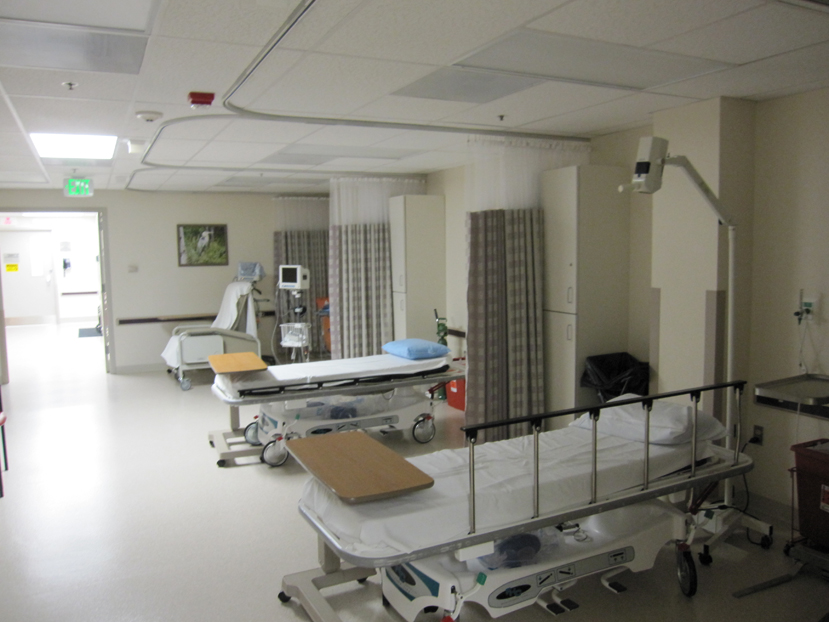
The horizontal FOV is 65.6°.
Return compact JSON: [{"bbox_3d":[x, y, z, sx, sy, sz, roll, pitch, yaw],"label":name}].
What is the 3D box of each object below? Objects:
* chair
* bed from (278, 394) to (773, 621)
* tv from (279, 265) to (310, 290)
[{"bbox_3d":[-2.810,0.336,9.691,1.355,1.528,1.233,-2,1,14],"label":"chair"},{"bbox_3d":[0.692,0.904,4.138,2.795,0.783,0.800,-4,11,-21],"label":"bed"},{"bbox_3d":[-1.759,-0.506,9.725,0.336,0.519,0.611,-4,5,-42],"label":"tv"}]
